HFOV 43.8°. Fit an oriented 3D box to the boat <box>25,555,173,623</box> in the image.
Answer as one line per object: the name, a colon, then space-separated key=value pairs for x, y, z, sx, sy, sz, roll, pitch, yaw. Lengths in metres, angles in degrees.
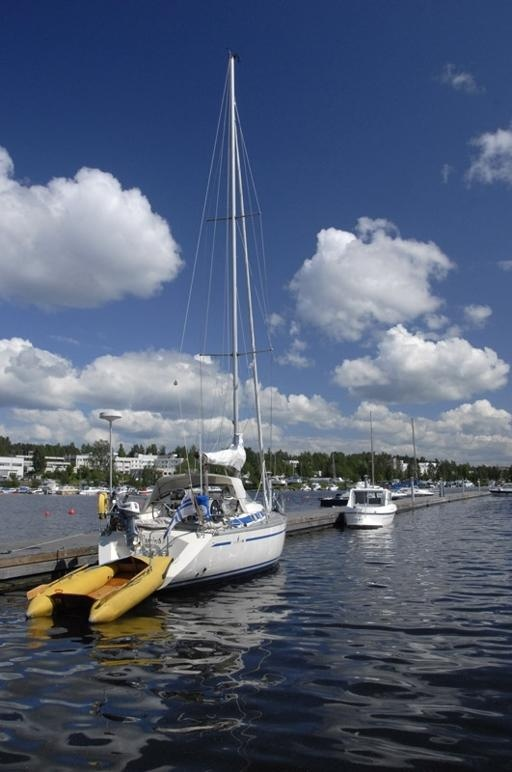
boat: x=-2.870 y=3.562 z=11.258 sx=1.973 sy=0.888 sz=2.159 roll=-5 pitch=-7 yaw=25
